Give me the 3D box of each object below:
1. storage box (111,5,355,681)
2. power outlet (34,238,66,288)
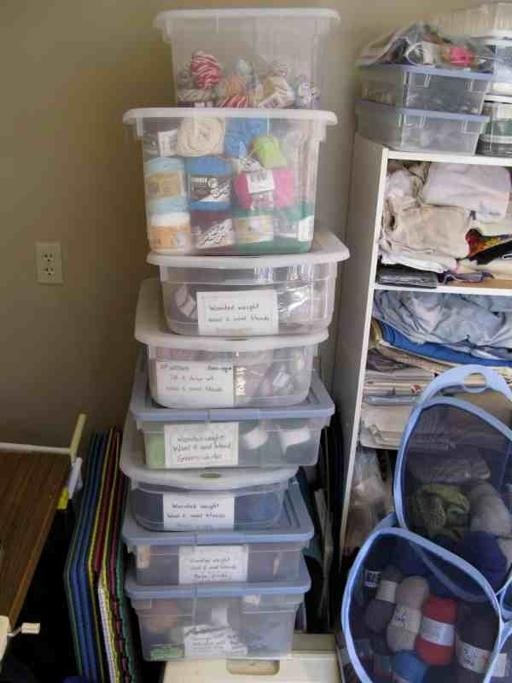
[{"bbox_3d":[-0.037,-0.191,1.159,0.417,0.747,0.531,-6,37,-4],"label":"storage box"},{"bbox_3d":[-0.516,-0.191,1.491,0.067,0.094,0.023,2,12,1],"label":"power outlet"}]
